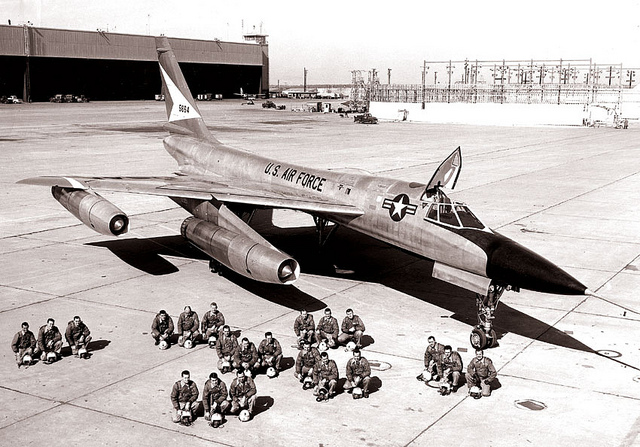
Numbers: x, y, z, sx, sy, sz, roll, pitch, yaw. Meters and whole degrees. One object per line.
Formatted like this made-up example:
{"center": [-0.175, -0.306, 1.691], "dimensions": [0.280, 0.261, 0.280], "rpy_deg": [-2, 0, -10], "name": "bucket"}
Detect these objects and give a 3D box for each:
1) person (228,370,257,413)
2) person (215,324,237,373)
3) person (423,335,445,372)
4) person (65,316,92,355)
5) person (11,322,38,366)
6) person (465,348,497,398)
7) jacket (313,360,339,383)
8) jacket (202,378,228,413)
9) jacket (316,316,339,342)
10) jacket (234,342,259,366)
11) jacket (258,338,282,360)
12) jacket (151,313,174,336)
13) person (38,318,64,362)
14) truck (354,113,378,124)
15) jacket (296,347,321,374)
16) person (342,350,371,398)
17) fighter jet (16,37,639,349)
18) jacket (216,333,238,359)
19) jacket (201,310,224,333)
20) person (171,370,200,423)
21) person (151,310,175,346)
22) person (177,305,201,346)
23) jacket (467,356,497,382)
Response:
{"center": [-1.930, 4.174, 15.362], "dimensions": [0.615, 1.114, 0.368], "rpy_deg": [5, 15, 17], "name": "person"}
{"center": [-2.563, 3.471, 17.097], "dimensions": [0.565, 1.106, 0.801], "rpy_deg": [-1, 14, -7], "name": "person"}
{"center": [3.021, 3.574, 16.681], "dimensions": [0.495, 1.012, 0.558], "rpy_deg": [3, 14, 8], "name": "person"}
{"center": [-6.829, 3.178, 17.651], "dimensions": [0.430, 1.171, 0.501], "rpy_deg": [12, 18, 36], "name": "person"}
{"center": [-8.136, 3.349, 17.207], "dimensions": [0.643, 1.145, 0.490], "rpy_deg": [-5, 15, -21], "name": "person"}
{"center": [4.159, 3.923, 16.057], "dimensions": [0.766, 1.125, 0.548], "rpy_deg": [0, 14, -2], "name": "person"}
{"center": [0.121, 3.860, 16.030], "dimensions": [0.792, 0.589, 0.372], "rpy_deg": [6, 11, 0], "name": "jacket"}
{"center": [-2.568, 4.281, 15.270], "dimensions": [0.611, 0.782, 0.414], "rpy_deg": [-1, 14, -10], "name": "jacket"}
{"center": [0.206, 3.148, 18.300], "dimensions": [0.831, 0.611, 0.401], "rpy_deg": [16, 4, -2], "name": "jacket"}
{"center": [-1.981, 3.572, 16.652], "dimensions": [0.764, 0.575, 0.260], "rpy_deg": [5, 26, -3], "name": "jacket"}
{"center": [-1.367, 3.453, 16.887], "dimensions": [0.612, 0.671, 0.241], "rpy_deg": [-1, 15, -8], "name": "jacket"}
{"center": [-4.664, 2.989, 18.410], "dimensions": [0.829, 0.687, 0.620], "rpy_deg": [1, 9, -19], "name": "jacket"}
{"center": [-7.534, 3.285, 17.437], "dimensions": [0.680, 1.168, 0.536], "rpy_deg": [-8, 17, -31], "name": "person"}
{"center": [6.579, -15.331, 90.279], "dimensions": [3.352, 1.229, 1.955], "rpy_deg": [2, 14, 9], "name": "truck"}
{"center": [-0.304, 3.668, 16.410], "dimensions": [0.762, 0.553, 0.405], "rpy_deg": [12, 12, 3], "name": "jacket"}
{"center": [0.974, 3.903, 16.055], "dimensions": [0.724, 1.146, 0.454], "rpy_deg": [3, 15, 8], "name": "person"}
{"center": [-1.027, -0.932, 23.344], "dimensions": [19.624, 5.422, 14.334], "rpy_deg": [22, 20, 35], "name": "fighter jet"}
{"center": [-2.542, 3.432, 17.049], "dimensions": [0.575, 0.651, 0.554], "rpy_deg": [-1, 14, -10], "name": "jacket"}
{"center": [-3.207, 2.942, 18.601], "dimensions": [0.647, 0.656, 0.303], "rpy_deg": [0, 14, -5], "name": "jacket"}
{"center": [-3.294, 4.252, 15.131], "dimensions": [0.686, 1.172, 0.542], "rpy_deg": [-4, 15, -19], "name": "person"}
{"center": [-4.597, 3.044, 18.249], "dimensions": [0.466, 1.014, 0.474], "rpy_deg": [7, 15, 22], "name": "person"}
{"center": [-3.858, 3.028, 18.284], "dimensions": [0.632, 1.185, 0.401], "rpy_deg": [-2, 15, -13], "name": "person"}
{"center": [4.142, 3.810, 16.057], "dimensions": [0.905, 0.571, 0.523], "rpy_deg": [4, -6, 40], "name": "jacket"}
